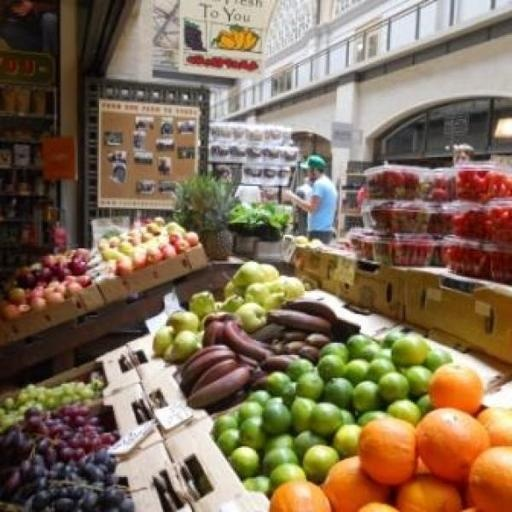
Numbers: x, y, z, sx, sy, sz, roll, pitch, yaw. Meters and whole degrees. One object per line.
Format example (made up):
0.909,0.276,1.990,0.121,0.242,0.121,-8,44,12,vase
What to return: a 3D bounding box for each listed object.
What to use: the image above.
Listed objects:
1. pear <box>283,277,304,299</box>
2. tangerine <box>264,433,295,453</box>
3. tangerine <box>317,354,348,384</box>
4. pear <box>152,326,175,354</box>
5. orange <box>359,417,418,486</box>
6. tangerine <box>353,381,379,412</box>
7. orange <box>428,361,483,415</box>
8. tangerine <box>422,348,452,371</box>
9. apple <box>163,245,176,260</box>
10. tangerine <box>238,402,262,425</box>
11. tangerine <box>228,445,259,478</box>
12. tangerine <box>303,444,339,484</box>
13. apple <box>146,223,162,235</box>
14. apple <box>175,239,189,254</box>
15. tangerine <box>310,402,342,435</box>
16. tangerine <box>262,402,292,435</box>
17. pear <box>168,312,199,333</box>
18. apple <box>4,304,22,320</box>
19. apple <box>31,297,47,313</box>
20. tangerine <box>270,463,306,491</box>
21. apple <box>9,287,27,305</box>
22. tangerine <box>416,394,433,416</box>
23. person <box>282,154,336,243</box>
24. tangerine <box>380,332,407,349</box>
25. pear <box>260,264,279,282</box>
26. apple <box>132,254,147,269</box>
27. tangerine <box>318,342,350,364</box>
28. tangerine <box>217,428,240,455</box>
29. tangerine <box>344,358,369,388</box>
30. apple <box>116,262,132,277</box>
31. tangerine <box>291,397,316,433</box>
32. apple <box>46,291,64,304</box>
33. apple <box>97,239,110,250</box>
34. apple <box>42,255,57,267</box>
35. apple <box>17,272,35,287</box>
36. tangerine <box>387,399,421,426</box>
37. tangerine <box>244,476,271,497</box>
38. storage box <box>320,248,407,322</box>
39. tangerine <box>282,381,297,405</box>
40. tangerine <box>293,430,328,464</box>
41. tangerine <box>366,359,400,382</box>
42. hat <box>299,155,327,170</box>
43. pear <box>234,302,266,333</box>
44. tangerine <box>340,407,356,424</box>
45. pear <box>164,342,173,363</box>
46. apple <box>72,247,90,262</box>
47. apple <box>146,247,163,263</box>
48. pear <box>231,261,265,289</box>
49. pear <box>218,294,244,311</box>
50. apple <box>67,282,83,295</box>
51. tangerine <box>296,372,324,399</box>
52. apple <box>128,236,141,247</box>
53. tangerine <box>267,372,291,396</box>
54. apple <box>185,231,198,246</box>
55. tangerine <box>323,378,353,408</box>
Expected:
0.208,0.167,2.242,0.086,0.121,0.104,-7,-1,-4,pear
0.076,0.581,1.311,0.057,0.066,0.060,3,-19,-23,tangerine
0.266,0.387,1.448,0.078,0.085,0.084,-30,-4,13,tangerine
-0.455,0.423,2.136,0.082,0.143,0.078,16,-12,33,pear
0.309,0.460,0.978,0.131,0.119,0.098,5,13,9,orange
0.334,0.441,1.318,0.072,0.101,0.080,0,-23,2,tangerine
0.541,0.351,1.175,0.123,0.148,0.127,-3,2,-19,orange
0.585,0.332,1.358,0.057,0.086,0.067,-2,-4,-3,tangerine
-0.607,-0.042,2.917,0.064,0.056,0.096,-4,41,-15,apple
-0.017,0.529,1.429,0.058,0.085,0.069,1,-8,-7,tangerine
-0.039,0.628,1.279,0.070,0.082,0.076,12,-39,-25,tangerine
0.186,0.604,1.180,0.098,0.110,0.094,27,-45,-29,tangerine
-0.838,-0.219,3.423,0.121,0.094,0.091,1,13,-7,apple
-0.525,-0.072,3.020,0.081,0.095,0.088,-23,-19,-4,apple
0.212,0.487,1.279,0.083,0.103,0.099,-2,10,11,tangerine
0.067,0.527,1.352,0.094,0.093,0.073,6,13,15,tangerine
-0.366,0.335,2.131,0.103,0.124,0.108,-2,-8,-9,pear
-1.476,0.341,2.539,0.073,0.086,0.080,-4,-15,-13,apple
-1.347,0.303,2.590,0.069,0.096,0.071,-4,-3,35,apple
0.090,0.590,1.147,0.064,0.087,0.069,19,-35,-13,tangerine
-1.529,0.243,2.677,0.101,0.080,0.156,-6,16,-31,apple
0.491,0.431,1.212,0.043,0.062,0.049,2,-29,-7,tangerine
0.647,-0.631,4.742,0.526,0.978,0.704,4,13,11,person
0.503,0.315,1.531,0.059,0.051,0.045,-26,-27,25,tangerine
0.075,0.098,2.521,0.080,0.116,0.096,-30,14,-39,pear
-0.783,0.031,2.815,0.087,0.090,0.137,-17,0,6,apple
0.303,0.353,1.562,0.073,0.084,0.074,9,-17,-13,tangerine
-0.087,0.605,1.374,0.055,0.077,0.063,6,-14,0,tangerine
0.344,0.393,1.435,0.067,0.087,0.072,21,-29,6,tangerine
-0.867,0.092,2.778,0.092,0.081,0.056,-13,-19,3,apple
0.151,0.505,1.323,0.063,0.087,0.067,-10,-21,-48,tangerine
-1.259,0.266,2.622,0.077,0.086,0.077,-24,20,-33,apple
-1.182,-0.096,3.238,0.063,0.057,0.093,-3,14,-6,apple
-1.526,0.049,3.102,0.081,0.067,0.112,4,23,1,apple
-1.581,0.169,2.857,0.088,0.105,0.092,0,-11,-6,apple
0.422,0.434,1.190,0.060,0.068,0.060,12,-3,-33,tangerine
0.001,0.654,1.204,0.045,0.057,0.052,-2,-5,6,tangerine
0.591,0.162,2.088,0.097,0.266,0.333,-3,6,-30,storage box
0.113,0.463,1.424,0.030,0.065,0.044,8,11,4,tangerine
0.171,0.586,1.291,0.075,0.104,0.079,-20,-29,25,tangerine
0.409,0.364,1.335,0.063,0.087,0.071,8,-23,-5,tangerine
0.640,-1.061,4.868,0.279,0.163,0.205,25,29,27,hat
-0.029,0.279,2.055,0.129,0.143,0.125,3,27,-47,pear
0.282,0.493,1.298,0.036,0.050,0.039,9,-31,-16,tangerine
-0.411,0.457,1.995,0.043,0.093,0.044,5,-15,14,pear
-1.328,-0.013,3.166,0.118,0.167,0.123,1,-2,-28,apple
-0.690,-0.024,2.871,0.090,0.103,0.086,-17,17,-29,apple
-0.042,0.108,2.445,0.143,0.139,0.199,-10,18,-42,pear
-0.133,0.253,2.284,0.067,0.074,0.113,20,-53,-38,pear
-1.157,0.206,2.673,0.064,0.075,0.070,1,14,5,apple
0.185,0.439,1.415,0.100,0.068,0.070,-6,16,-32,tangerine
-0.981,-0.120,3.339,0.110,0.057,0.074,5,14,8,apple
0.081,0.450,1.509,0.062,0.093,0.077,-2,21,4,tangerine
-0.471,-0.133,3.084,0.090,0.093,0.157,0,14,-11,apple
0.269,0.445,1.401,0.075,0.107,0.081,-6,-7,-7,tangerine
